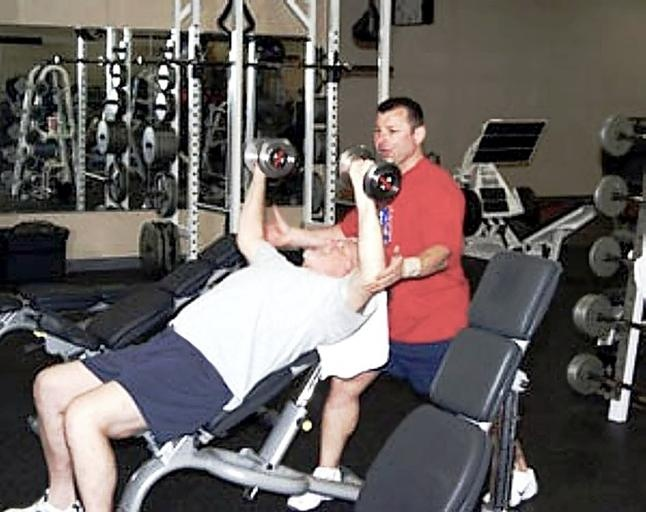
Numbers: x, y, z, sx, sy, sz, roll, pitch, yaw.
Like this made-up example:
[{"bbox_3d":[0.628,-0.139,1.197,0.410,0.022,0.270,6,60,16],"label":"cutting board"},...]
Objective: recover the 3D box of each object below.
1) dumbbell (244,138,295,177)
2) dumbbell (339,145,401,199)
[{"bbox_3d":[-0.164,-0.330,2.114,0.128,0.142,0.093,-5,14,-31],"label":"dumbbell"},{"bbox_3d":[0.134,-0.221,1.815,0.092,0.108,0.219,-8,19,-20],"label":"dumbbell"}]
